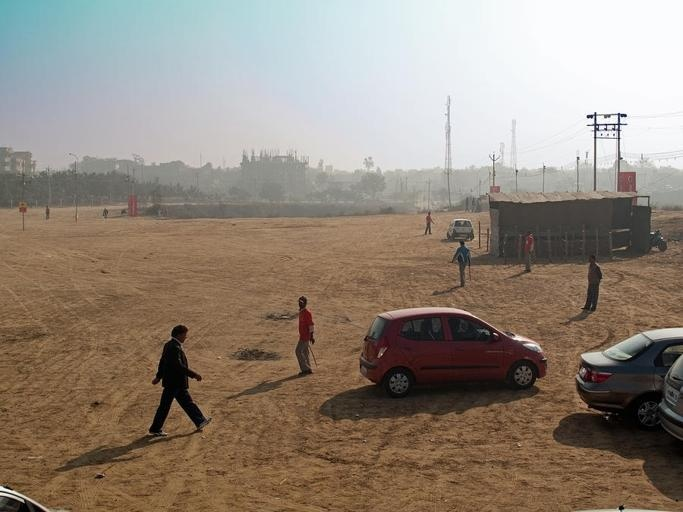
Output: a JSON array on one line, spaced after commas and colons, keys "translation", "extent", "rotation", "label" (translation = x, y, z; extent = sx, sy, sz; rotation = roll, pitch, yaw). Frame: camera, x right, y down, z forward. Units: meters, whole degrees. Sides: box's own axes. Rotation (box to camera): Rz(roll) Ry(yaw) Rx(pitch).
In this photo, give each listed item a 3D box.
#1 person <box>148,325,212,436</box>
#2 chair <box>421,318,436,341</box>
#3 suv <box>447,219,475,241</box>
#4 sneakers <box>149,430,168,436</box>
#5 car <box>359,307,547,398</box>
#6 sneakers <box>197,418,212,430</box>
[{"translation": [-3.638, 2.717, 13.475], "extent": [1.258, 2.477, 0.762], "rotation": [-3, 12, -13], "label": "person"}, {"translation": [2.226, 1.797, 15.226], "extent": [0.500, 0.527, 0.272], "rotation": [0, 12, 2], "label": "chair"}, {"translation": [9.352, -2.041, 48.254], "extent": [1.359, 1.054, 2.355], "rotation": [1, 12, 5], "label": "suv"}, {"translation": [-4.030, 3.897, 13.583], "extent": [0.405, 0.150, 0.134], "rotation": [0, 11, -6], "label": "sneakers"}, {"translation": [2.770, 2.381, 16.008], "extent": [4.163, 1.547, 2.209], "rotation": [-3, 2, -7], "label": "car"}, {"translation": [-3.101, 3.746, 13.847], "extent": [0.122, 0.145, 0.360], "rotation": [19, 45, 34], "label": "sneakers"}]
